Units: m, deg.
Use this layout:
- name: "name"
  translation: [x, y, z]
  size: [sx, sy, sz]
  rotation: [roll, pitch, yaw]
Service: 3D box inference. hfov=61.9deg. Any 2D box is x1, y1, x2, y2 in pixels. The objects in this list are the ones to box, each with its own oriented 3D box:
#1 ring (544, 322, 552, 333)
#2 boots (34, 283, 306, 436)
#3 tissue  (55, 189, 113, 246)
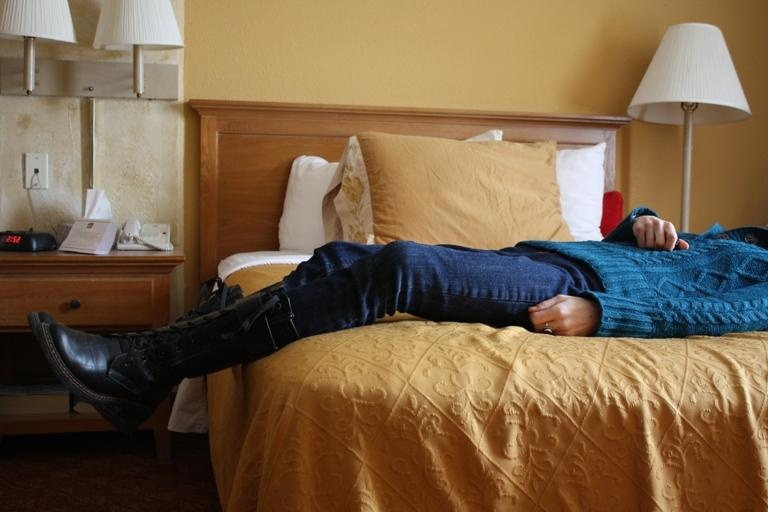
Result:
- name: "ring"
  translation: [0.451, 0.200, 1.757]
  size: [0.021, 0.019, 0.025]
  rotation: [-1, 2, -1]
- name: "boots"
  translation: [-0.475, 0.245, 1.829]
  size: [0.864, 0.406, 0.309]
  rotation: [12, 32, -33]
- name: "tissue "
  translation: [-1.256, -0.160, 2.777]
  size: [0.160, 0.252, 0.146]
  rotation: [10, -3, -17]
